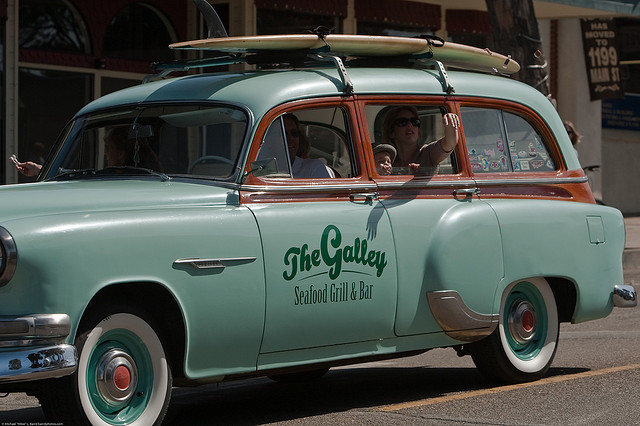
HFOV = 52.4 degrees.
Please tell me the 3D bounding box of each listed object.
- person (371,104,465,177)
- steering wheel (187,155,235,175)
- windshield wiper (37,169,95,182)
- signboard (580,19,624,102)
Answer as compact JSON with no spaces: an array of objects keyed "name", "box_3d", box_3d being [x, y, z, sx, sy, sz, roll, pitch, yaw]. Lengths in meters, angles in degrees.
[{"name":"person","box_3d":[0.835,-0.663,6.012,0.628,0.390,0.725,2,7,-21]},{"name":"steering wheel","box_3d":[-0.852,-0.389,5.139,0.396,0.144,0.061,-2,-1,17]},{"name":"windshield wiper","box_3d":[-2.136,-0.318,5.534,0.673,0.082,0.097,-4,-11,39]},{"name":"signboard","box_3d":[9.852,-5.365,22.910,1.756,1.942,0.521,-1,-1,-26]}]
